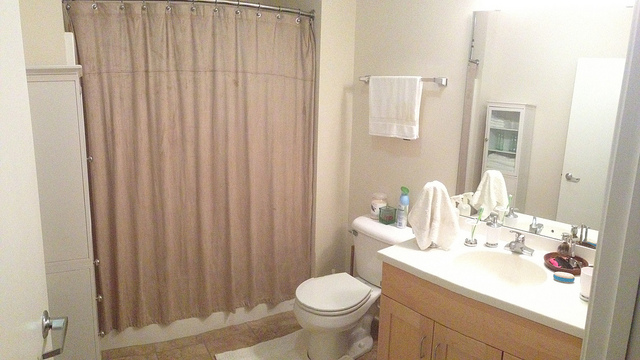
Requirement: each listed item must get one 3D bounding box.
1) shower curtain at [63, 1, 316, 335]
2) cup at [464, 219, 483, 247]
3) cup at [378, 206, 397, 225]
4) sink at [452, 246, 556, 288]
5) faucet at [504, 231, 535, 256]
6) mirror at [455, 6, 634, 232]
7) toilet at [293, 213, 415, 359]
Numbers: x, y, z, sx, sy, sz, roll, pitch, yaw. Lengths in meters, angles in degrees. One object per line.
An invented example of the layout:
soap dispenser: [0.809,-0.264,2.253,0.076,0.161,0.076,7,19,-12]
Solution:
shower curtain: [-0.943,-0.102,3.576,1.832,2.523,0.510,-6,19,-16]
cup: [1.111,0.386,3.162,0.142,0.167,0.133,-2,22,1]
cup: [0.560,0.298,3.681,0.150,0.129,0.145,1,15,0]
sink: [1.218,0.580,2.893,0.593,0.202,0.285,8,19,27]
faucet: [1.371,0.417,2.988,0.185,0.120,0.214,8,19,27]
mirror: [1.461,-0.414,2.812,0.043,1.585,1.311,-7,16,-35]
toilet: [0.245,0.918,3.498,0.895,1.050,0.516,-13,21,-34]
